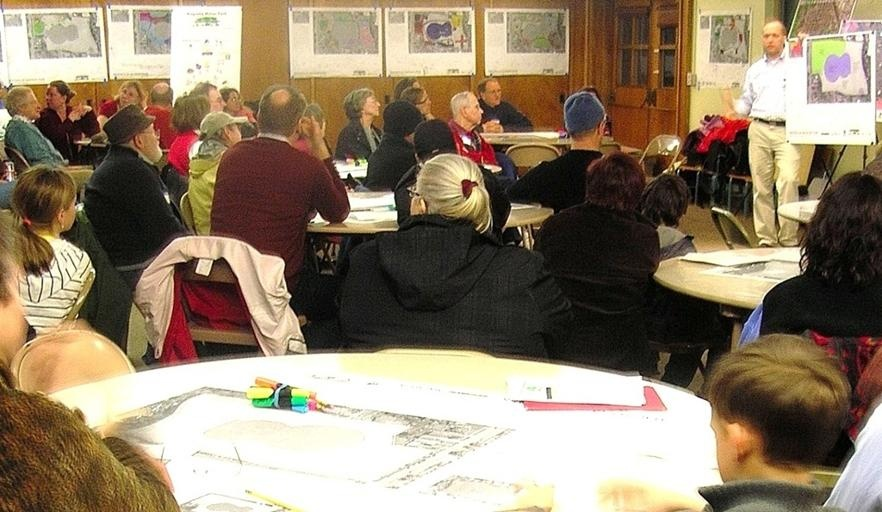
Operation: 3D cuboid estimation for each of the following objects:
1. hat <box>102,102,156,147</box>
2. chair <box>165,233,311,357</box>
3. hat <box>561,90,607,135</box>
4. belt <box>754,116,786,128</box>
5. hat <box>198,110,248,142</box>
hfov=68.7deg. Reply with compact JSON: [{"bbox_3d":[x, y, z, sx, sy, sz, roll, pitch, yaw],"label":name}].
[{"bbox_3d":[-2.084,-0.866,4.254,0.264,0.259,0.258,-3,11,-18],"label":"hat"},{"bbox_3d":[-1.061,0.213,3.261,0.624,0.601,0.282,5,35,10],"label":"chair"},{"bbox_3d":[1.088,-1.083,4.912,0.276,0.336,0.301,3,11,12],"label":"hat"},{"bbox_3d":[3.445,-1.402,6.764,0.317,0.109,0.102,9,13,38],"label":"belt"},{"bbox_3d":[-1.670,-1.024,5.086,0.441,0.157,0.276,-18,19,-38],"label":"hat"}]
